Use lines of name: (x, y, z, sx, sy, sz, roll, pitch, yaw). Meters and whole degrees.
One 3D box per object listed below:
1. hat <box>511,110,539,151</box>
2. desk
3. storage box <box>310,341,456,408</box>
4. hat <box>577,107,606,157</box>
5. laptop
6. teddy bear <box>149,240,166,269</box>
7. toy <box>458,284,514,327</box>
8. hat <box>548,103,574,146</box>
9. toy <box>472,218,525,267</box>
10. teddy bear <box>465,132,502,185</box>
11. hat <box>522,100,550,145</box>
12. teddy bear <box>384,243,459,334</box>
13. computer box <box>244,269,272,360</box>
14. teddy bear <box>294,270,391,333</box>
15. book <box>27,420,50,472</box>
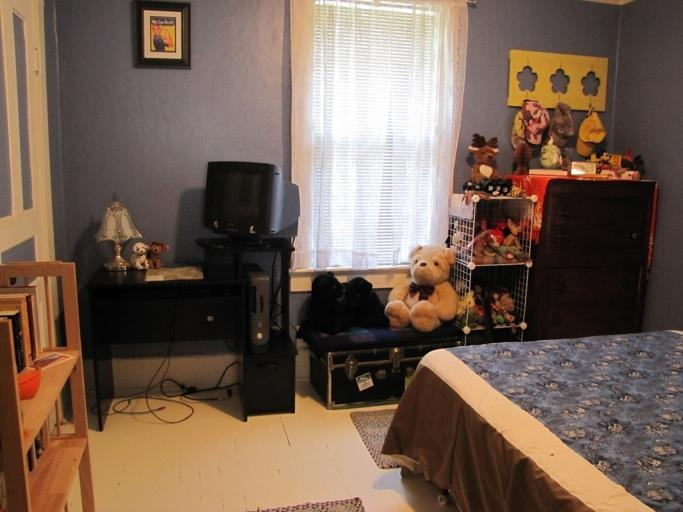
hat: (1.299, -0.919, 3.969, 0.129, 0.274, 0.055, 6, 7, 13)
desk: (-1.003, 0.503, 3.377, 1.016, 0.997, 0.441, -1, 4, -14)
storage box: (0.178, 0.786, 3.503, 0.600, 0.298, 0.461, -2, 8, -12)
hat: (1.928, -0.925, 4.102, 0.294, 0.364, 0.165, -8, 15, -28)
laptop: (-0.554, -0.355, 3.277, 0.583, 0.424, 0.365, -2, 13, -6)
teddy bear: (-1.189, -0.006, 3.462, 0.100, 0.167, 0.165, 2, -9, -27)
toy: (1.019, 0.374, 3.764, 0.301, 0.100, 0.319, -2, 33, -5)
hat: (1.640, -0.993, 4.066, 0.179, 0.308, 0.145, -3, 18, 3)
toy: (1.079, -0.102, 3.735, 0.400, 0.271, 0.315, -1, 13, 1)
teddy bear: (1.014, -0.709, 3.876, 0.224, 0.326, 0.349, 3, 14, 16)
hat: (1.403, -0.973, 3.923, 0.209, 0.335, 0.101, -6, 15, -9)
teddy bear: (0.598, 0.195, 3.786, 0.531, 0.677, 0.527, 4, 1, 43)
computer box: (-0.513, 0.345, 3.356, 0.133, 0.475, 0.204, -2, 13, -3)
teddy bear: (0.006, 0.318, 3.674, 0.374, 0.350, 0.530, -2, -6, 29)
book: (-1.191, 0.751, 2.128, 0.036, 0.161, 0.100, 14, -10, -4)
